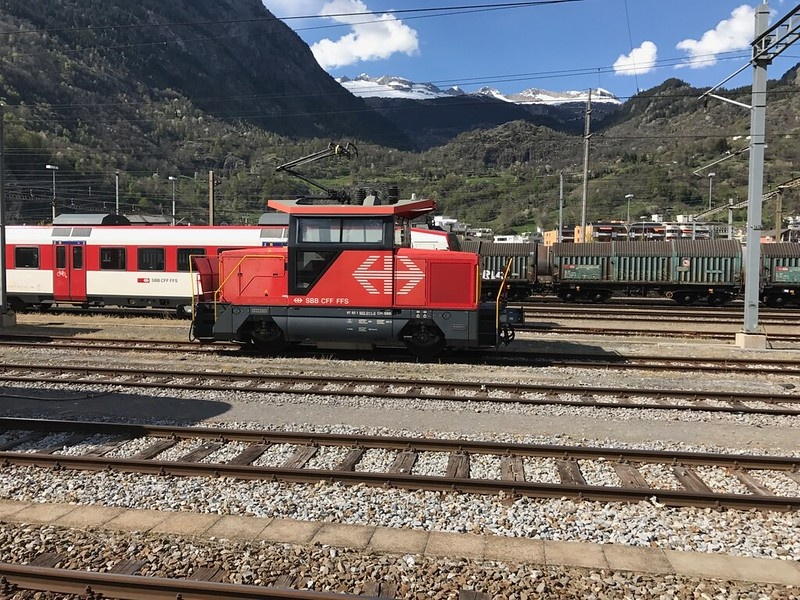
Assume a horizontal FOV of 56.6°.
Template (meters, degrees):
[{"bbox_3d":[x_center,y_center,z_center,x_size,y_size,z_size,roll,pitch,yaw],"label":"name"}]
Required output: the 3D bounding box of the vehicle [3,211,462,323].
[{"bbox_3d":[-10.339,-1.588,37.760,16.185,4.504,4.327,0,2,5],"label":"vehicle"}]
